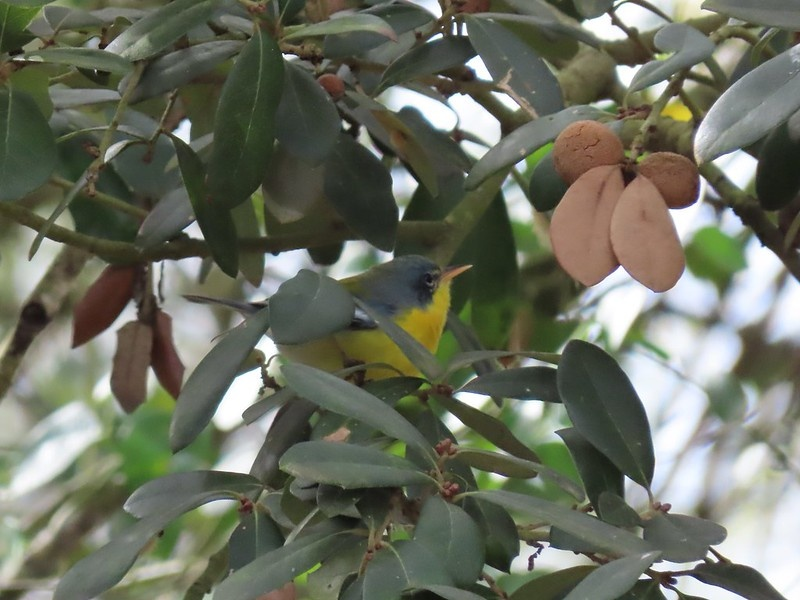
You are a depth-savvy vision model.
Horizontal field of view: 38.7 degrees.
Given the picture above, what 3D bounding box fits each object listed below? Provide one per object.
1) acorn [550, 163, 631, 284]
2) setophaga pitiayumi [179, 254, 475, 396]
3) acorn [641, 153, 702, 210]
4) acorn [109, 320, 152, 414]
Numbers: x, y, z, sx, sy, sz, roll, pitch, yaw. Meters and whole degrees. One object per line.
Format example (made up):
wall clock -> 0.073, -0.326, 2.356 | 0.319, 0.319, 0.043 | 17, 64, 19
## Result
acorn -> 0.349, -0.146, 2.121 | 0.139, 0.200, 0.165 | 6, 13, 33
setophaga pitiayumi -> -0.172, 0.050, 2.973 | 0.768, 0.369, 0.272 | 6, -17, -20
acorn -> 0.514, -0.230, 2.157 | 0.104, 0.114, 0.093 | 6, 9, -15
acorn -> -0.621, 0.159, 2.635 | 0.083, 0.209, 0.027 | 10, -12, -10
